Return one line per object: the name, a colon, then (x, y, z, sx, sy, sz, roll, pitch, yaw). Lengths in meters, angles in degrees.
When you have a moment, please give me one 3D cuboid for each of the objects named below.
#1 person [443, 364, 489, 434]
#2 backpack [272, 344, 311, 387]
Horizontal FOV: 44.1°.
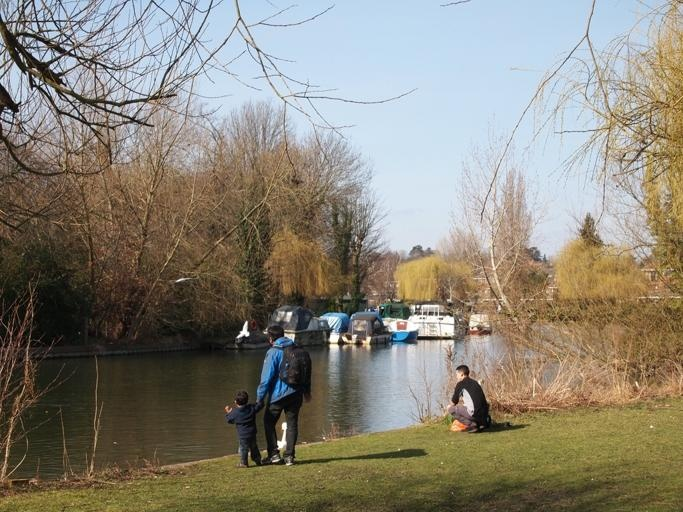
person: (2.453, 2.717, 16.139, 0.684, 1.280, 0.808, -11, -8, 42)
backpack: (-0.810, 1.868, 14.305, 0.408, 0.801, 0.506, 1, 1, 41)
